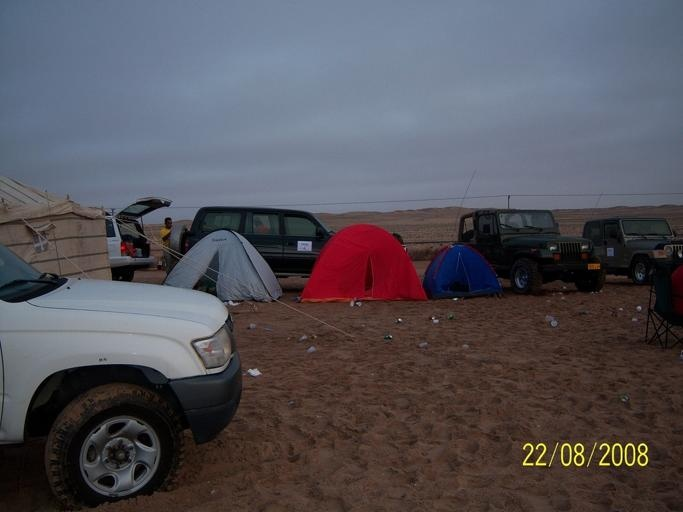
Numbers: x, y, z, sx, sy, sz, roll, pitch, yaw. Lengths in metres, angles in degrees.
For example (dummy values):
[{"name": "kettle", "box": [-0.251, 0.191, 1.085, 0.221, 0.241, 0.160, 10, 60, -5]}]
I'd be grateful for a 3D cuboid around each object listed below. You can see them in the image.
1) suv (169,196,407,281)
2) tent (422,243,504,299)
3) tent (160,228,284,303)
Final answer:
[{"name": "suv", "box": [-2.305, -0.464, 12.825, 4.464, 1.744, 2.263, -1, 0, -5]}, {"name": "tent", "box": [3.316, 0.369, 13.370, 1.832, 1.077, 1.715, -1, 2, -4]}, {"name": "tent", "box": [-2.969, 0.470, 12.008, 2.607, 1.241, 2.330, 4, 4, 20]}]
